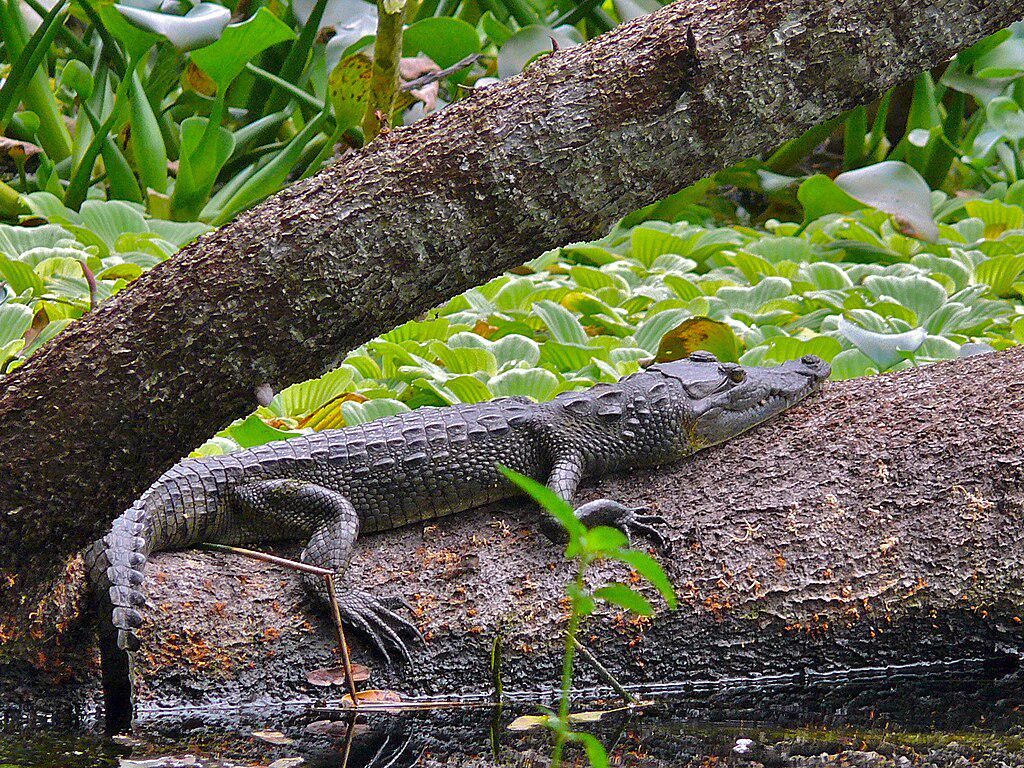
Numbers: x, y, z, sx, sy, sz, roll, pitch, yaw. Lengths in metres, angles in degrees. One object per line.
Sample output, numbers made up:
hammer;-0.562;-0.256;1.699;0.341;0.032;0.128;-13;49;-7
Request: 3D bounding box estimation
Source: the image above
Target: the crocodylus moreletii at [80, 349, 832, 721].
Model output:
crocodylus moreletii;-0.106;0.326;4.345;1.485;0.297;0.896;-13;36;-3
